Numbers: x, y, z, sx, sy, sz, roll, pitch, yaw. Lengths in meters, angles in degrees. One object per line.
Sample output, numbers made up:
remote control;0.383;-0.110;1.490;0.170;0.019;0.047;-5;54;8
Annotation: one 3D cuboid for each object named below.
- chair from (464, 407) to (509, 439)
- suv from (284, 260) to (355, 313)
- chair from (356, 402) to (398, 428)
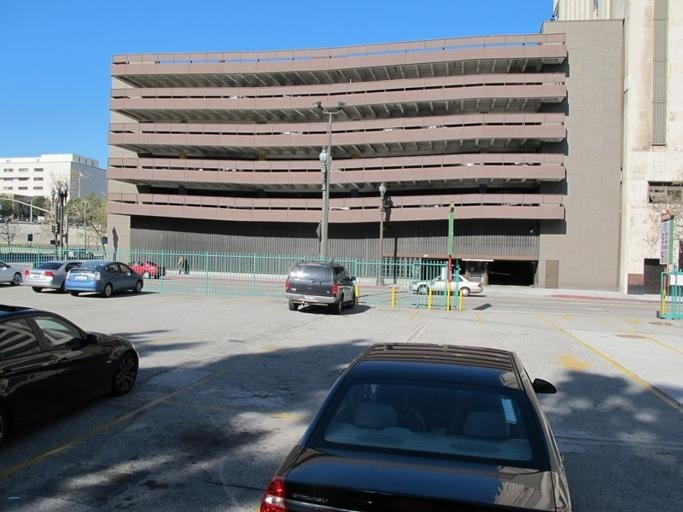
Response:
chair;1.542;1.803;6.806;0.356;0.268;0.272;0;-9;8
suv;-0.516;1.010;23.112;1.371;1.187;2.555;1;5;13
chair;0.367;1.728;6.879;0.335;0.243;0.257;-1;-22;9
